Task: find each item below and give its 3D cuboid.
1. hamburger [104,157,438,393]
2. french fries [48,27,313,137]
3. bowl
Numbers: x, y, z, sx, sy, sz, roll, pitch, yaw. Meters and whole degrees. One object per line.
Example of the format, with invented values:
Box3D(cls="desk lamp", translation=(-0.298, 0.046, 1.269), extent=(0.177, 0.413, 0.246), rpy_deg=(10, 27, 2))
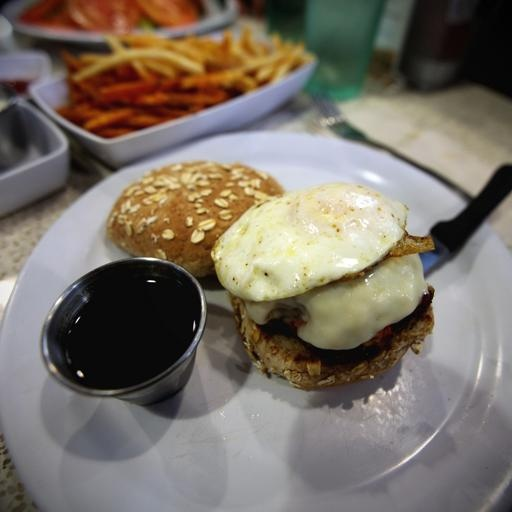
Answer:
Box3D(cls="hamburger", translation=(0.030, -0.069, 2.040), extent=(0.837, 0.485, 1.359), rpy_deg=(-17, 36, -30))
Box3D(cls="french fries", translation=(-0.428, -0.984, 2.652), extent=(1.145, 0.161, 0.743), rpy_deg=(-28, 50, -26))
Box3D(cls="bowl", translation=(-0.437, 0.310, 1.909), extent=(0.697, 0.480, 0.440), rpy_deg=(11, 50, 8))
